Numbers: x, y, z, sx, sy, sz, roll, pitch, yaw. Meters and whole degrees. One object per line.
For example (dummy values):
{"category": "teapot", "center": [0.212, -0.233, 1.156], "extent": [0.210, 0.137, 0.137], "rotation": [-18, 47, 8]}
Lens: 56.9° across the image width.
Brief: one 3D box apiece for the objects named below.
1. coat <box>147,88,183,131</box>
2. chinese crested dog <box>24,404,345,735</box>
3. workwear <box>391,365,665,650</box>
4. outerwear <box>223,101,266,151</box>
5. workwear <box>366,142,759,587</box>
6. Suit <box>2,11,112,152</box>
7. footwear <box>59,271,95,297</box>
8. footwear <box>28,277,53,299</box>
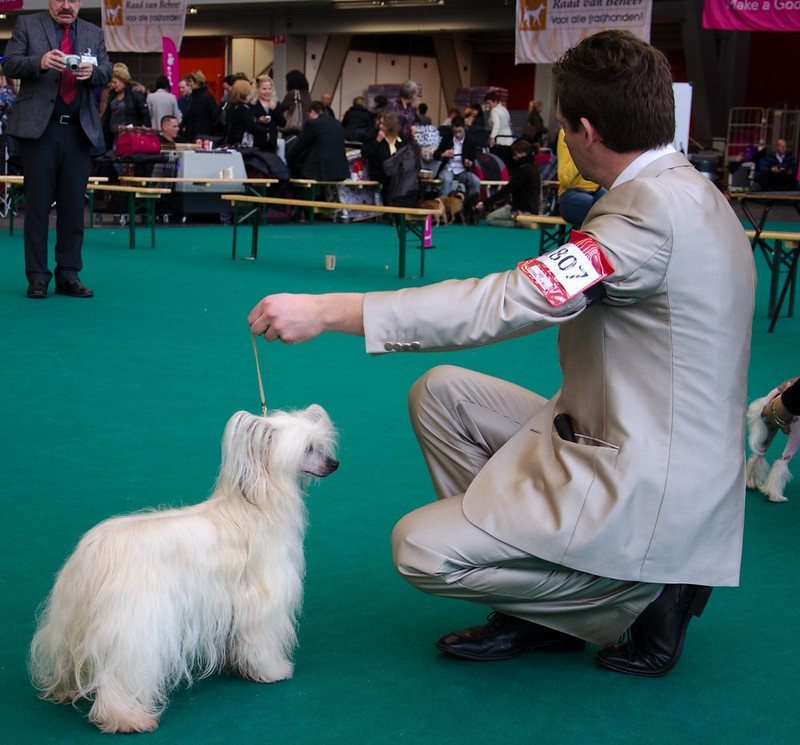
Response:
{"category": "coat", "center": [-4.768, -5.332, 14.921], "extent": [0.599, 0.790, 0.545], "rotation": [-3, 16, -18]}
{"category": "chinese crested dog", "center": [-0.506, 0.439, 1.757], "extent": [0.406, 0.608, 0.753], "rotation": [-2, -2, 45]}
{"category": "workwear", "center": [0.231, 0.400, 1.896], "extent": [0.807, 0.268, 0.733], "rotation": [17, 49, -15]}
{"category": "outerwear", "center": [-2.830, -4.479, 13.516], "extent": [0.735, 0.989, 0.827], "rotation": [9, 20, -19]}
{"category": "workwear", "center": [0.308, -0.040, 1.935], "extent": [1.106, 1.049, 0.992], "rotation": [8, 10, 32]}
{"category": "Suit", "center": [-2.825, -2.447, 6.126], "extent": [0.825, 1.074, 0.570], "rotation": [-4, 16, -22]}
{"category": "footwear", "center": [-2.935, -0.795, 6.770], "extent": [0.424, 0.177, 0.154], "rotation": [7, 10, 29]}
{"category": "footwear", "center": [-3.220, -0.737, 6.603], "extent": [0.102, 0.109, 0.272], "rotation": [1, -3, -13]}
